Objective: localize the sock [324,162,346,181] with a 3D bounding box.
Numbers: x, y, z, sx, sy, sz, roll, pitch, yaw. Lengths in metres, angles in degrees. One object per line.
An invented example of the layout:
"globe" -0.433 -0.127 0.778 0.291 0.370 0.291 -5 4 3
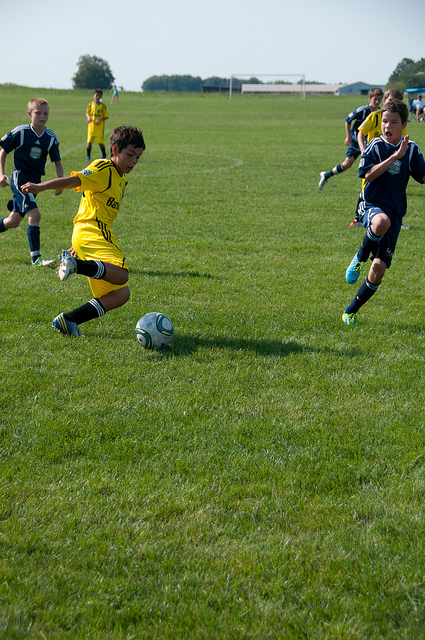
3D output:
"sock" 2.200 -2.670 13.007 0.139 0.175 0.569 -33 -5 -39

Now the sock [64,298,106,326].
"sock" -1.011 -0.067 5.456 0.347 0.158 0.130 -26 44 5

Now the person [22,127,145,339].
"person" -0.911 -0.677 5.471 0.744 1.550 0.922 1 14 -3

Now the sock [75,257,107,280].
"sock" -0.896 -0.366 5.234 0.207 0.118 0.094 13 -28 -31

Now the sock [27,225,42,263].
"sock" -1.997 -0.856 7.983 0.123 0.401 0.248 -2 14 -14

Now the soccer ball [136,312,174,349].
"soccer ball" -0.411 0.090 5.318 0.253 0.257 0.268 7 -5 1

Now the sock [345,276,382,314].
"sock" 1.296 -0.213 6.238 0.208 0.340 0.244 0 14 -9
